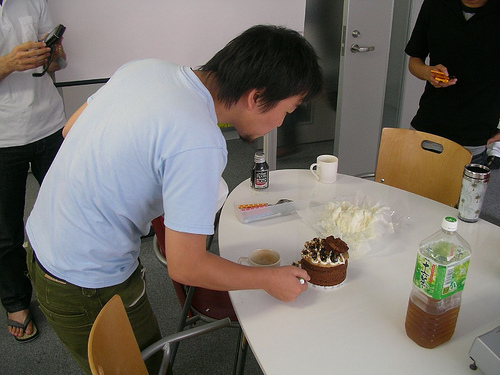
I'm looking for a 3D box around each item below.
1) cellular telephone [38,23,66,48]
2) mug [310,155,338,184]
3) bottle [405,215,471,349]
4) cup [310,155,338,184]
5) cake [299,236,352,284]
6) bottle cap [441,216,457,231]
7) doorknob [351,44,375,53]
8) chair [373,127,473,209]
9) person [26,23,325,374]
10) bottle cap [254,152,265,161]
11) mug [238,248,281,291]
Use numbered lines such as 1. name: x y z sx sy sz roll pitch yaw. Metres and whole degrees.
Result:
1. cellular telephone: -1.088 -0.848 1.972 0.167 0.061 0.096 -46 38 10
2. mug: 0.390 -0.077 1.894 0.153 0.129 0.104 3 -14 3
3. bottle: 0.552 0.280 1.034 0.158 0.314 0.211 24 37 35
4. cup: 0.393 -0.079 1.898 0.160 0.132 0.110 2 -13 7
5. cake: 0.285 0.262 1.258 0.176 0.127 0.176 -17 3 -33
6. bottle cap: 0.553 0.099 0.981 0.034 0.039 0.044 22 37 32
7. doorknob: 1.008 -1.262 3.174 0.187 0.084 0.047 -4 18 -16
8. chair: 0.939 -0.099 1.928 0.247 0.426 0.271 21 36 28
9. person: -0.306 0.085 1.214 1.015 1.138 0.482 4 29 7
10. bottle cap: 0.054 -0.153 1.796 0.037 0.040 0.041 0 33 0
11. mug: 0.029 0.280 1.284 0.105 0.083 0.074 1 37 1
